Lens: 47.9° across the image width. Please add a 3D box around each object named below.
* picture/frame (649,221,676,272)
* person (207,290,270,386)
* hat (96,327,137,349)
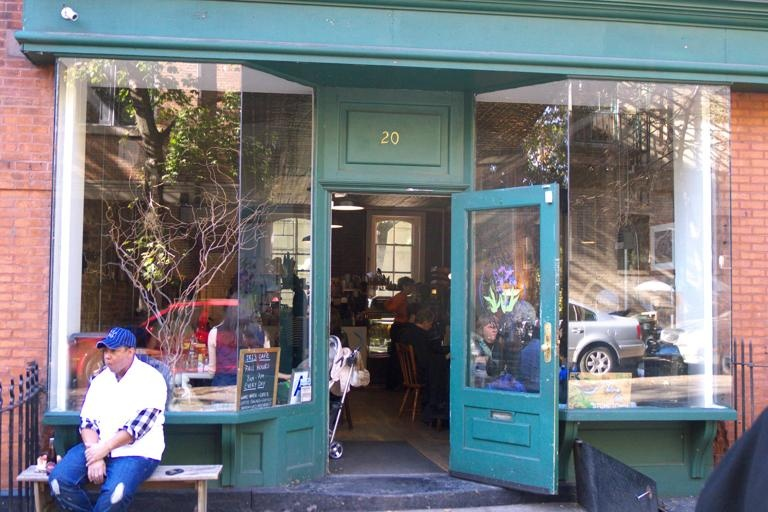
[{"bbox_3d":[3.423,-0.101,10.600,0.044,0.769,0.541,4,-6,-22],"label":"picture/frame"},{"bbox_3d":[-1.668,0.919,9.647,0.659,0.929,0.478,-15,19,-41],"label":"person"},{"bbox_3d":[-2.710,0.837,8.772,0.300,0.165,0.208,6,-6,-34],"label":"hat"}]
